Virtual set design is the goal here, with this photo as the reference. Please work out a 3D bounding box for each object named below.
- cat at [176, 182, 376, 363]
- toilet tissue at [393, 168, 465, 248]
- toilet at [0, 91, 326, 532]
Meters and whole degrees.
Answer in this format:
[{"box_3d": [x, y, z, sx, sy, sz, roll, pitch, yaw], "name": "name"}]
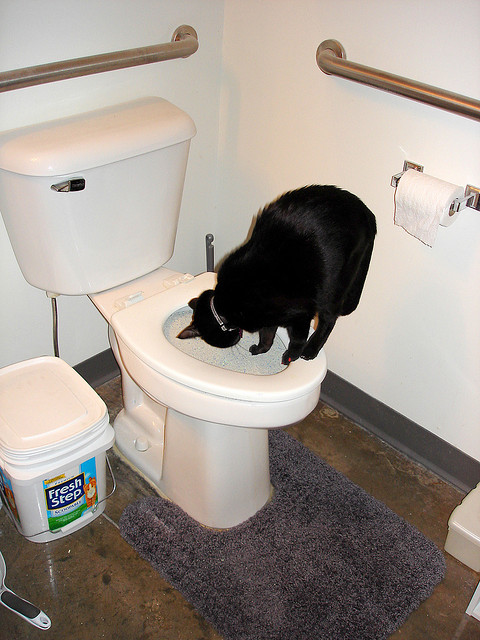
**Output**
[{"box_3d": [0.072, -0.074, 0.956, 0.346, 0.321, 0.206, 7, 30, 3], "name": "cat"}, {"box_3d": [0.350, -0.206, 0.931, 0.095, 0.089, 0.105, 33, 45, 21], "name": "toilet tissue"}, {"box_3d": [-0.162, 0.000, 1.037, 0.416, 0.734, 0.650, -31, 56, -31], "name": "toilet"}]
